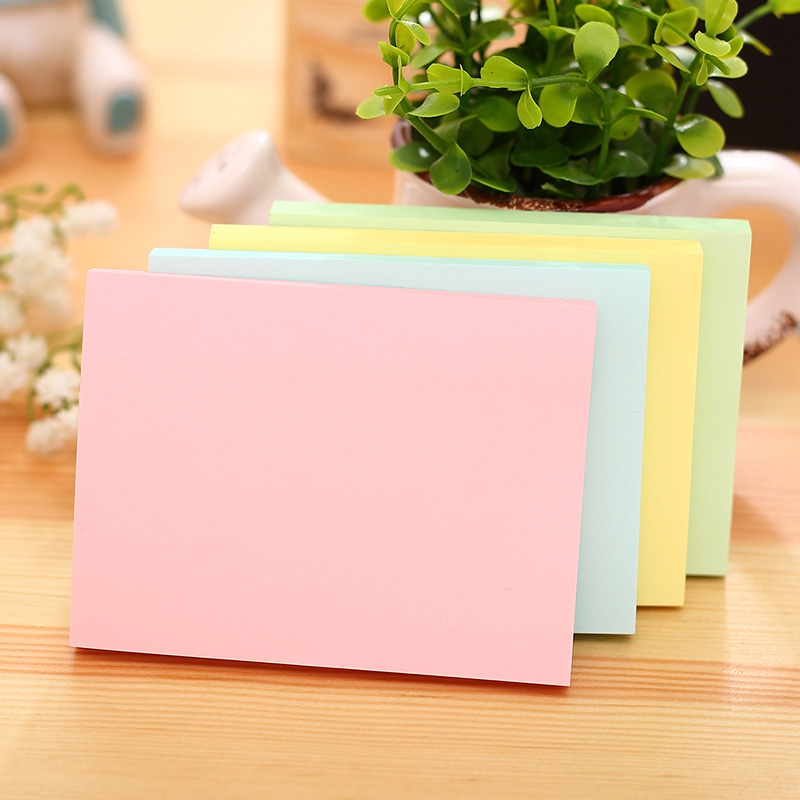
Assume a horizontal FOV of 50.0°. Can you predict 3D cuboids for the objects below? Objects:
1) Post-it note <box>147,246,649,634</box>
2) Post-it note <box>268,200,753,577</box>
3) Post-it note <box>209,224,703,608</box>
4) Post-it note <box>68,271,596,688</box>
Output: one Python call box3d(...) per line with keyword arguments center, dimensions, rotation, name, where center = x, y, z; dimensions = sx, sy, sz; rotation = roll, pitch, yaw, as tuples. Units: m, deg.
box3d(center=(-0.004, 0.019, 0.359), dimensions=(0.159, 0.117, 0.017), rotation=(0, -1, 4), name="Post-it note")
box3d(center=(0.044, -0.004, 0.367), dimensions=(0.165, 0.122, 0.017), rotation=(1, 2, 3), name="Post-it note")
box3d(center=(0.021, 0.009, 0.362), dimensions=(0.161, 0.119, 0.018), rotation=(1, 4, 1), name="Post-it note")
box3d(center=(-0.026, 0.033, 0.359), dimensions=(0.239, 0.171, 0.047), rotation=(5, 1, 3), name="Post-it note")
